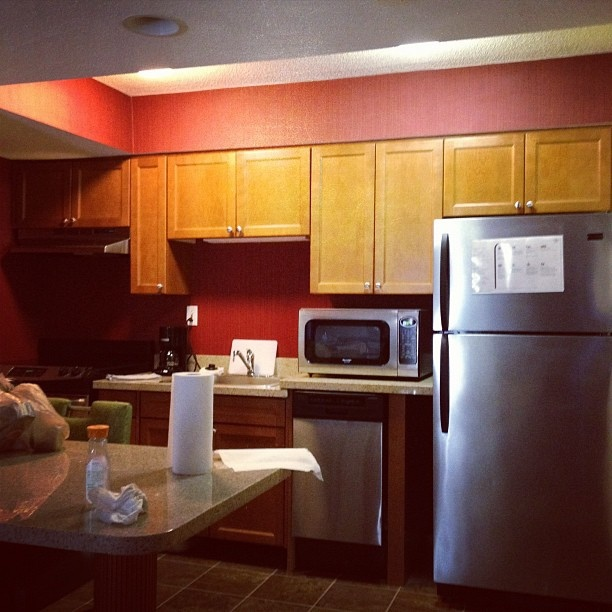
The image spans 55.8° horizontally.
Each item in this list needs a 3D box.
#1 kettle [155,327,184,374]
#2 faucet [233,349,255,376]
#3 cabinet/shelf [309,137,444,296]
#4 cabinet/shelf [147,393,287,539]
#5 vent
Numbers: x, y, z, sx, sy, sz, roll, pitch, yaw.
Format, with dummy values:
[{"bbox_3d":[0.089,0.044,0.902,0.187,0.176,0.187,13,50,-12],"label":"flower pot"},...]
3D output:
[{"bbox_3d":[-0.863,0.269,3.646,0.178,0.283,0.376,0,0,-4],"label":"kettle"},{"bbox_3d":[-0.381,0.348,3.559,0.132,0.150,0.106,0,0,7],"label":"faucet"},{"bbox_3d":[0.390,-0.470,3.045,0.658,0.954,0.403,0,-2,20],"label":"cabinet/shelf"},{"bbox_3d":[-0.446,0.740,3.352,0.847,1.024,0.614,-1,-5,13],"label":"cabinet/shelf"},{"bbox_3d":[-1.488,-0.414,3.629,0.827,0.166,0.102,0,0,15],"label":"vent"}]
